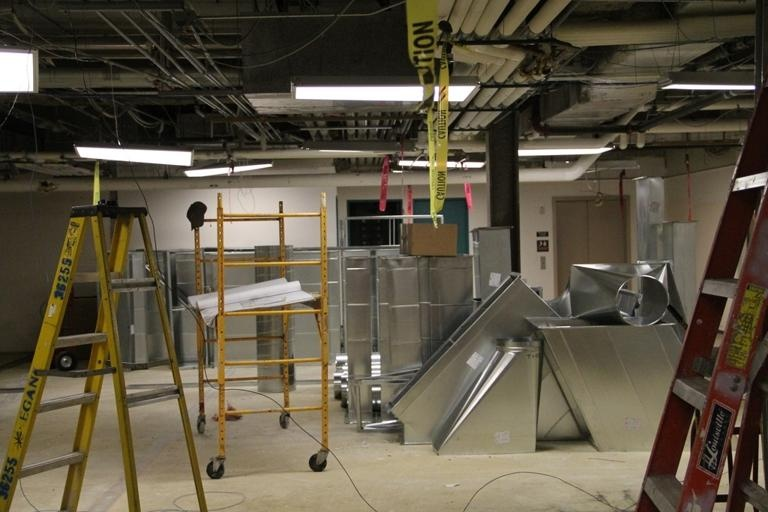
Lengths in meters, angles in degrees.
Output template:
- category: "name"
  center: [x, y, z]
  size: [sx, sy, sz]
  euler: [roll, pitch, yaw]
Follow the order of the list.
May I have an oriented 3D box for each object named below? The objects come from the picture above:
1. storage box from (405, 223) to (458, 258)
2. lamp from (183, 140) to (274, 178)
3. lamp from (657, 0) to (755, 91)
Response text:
- category: "storage box"
  center: [0.562, -0.139, 9.384]
  size: [0.443, 0.285, 0.451]
  euler: [1, -4, -4]
- category: "lamp"
  center: [-2.536, -1.523, 12.274]
  size: [1.409, 0.425, 0.590]
  euler: [-2, 9, -1]
- category: "lamp"
  center: [3.651, -2.429, 8.670]
  size: [1.182, 0.843, 0.654]
  euler: [0, 4, 0]
